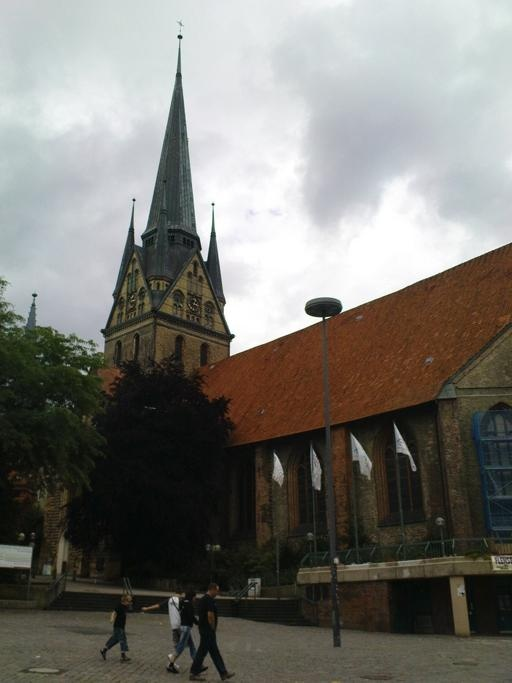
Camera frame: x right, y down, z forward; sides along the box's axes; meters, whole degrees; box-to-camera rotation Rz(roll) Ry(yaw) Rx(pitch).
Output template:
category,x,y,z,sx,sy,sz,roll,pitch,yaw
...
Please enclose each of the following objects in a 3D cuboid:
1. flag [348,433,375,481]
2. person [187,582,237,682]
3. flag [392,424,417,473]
category,x,y,z,sx,sy,sz,roll,pitch,yaw
flag,4.345,4.671,25.824,0.827,1.798,2.645,-5,-19,8
person,-0.552,3.484,7.472,0.503,1.121,1.105,-1,-19,-5
flag,5.778,4.034,24.448,0.736,2.003,3.162,-7,-19,13
